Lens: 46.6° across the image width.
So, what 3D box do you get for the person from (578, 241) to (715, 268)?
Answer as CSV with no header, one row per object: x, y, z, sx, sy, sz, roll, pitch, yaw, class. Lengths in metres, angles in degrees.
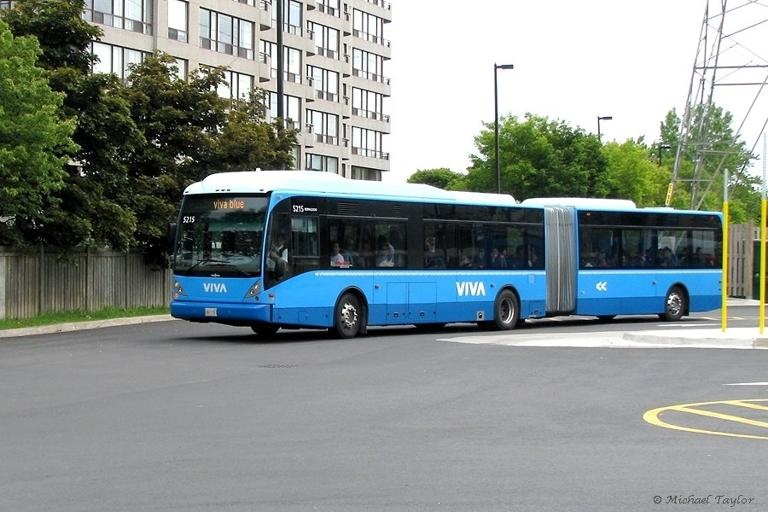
8.400,-0.034,29.102,3.124,0.775,0.795,-1,-2,-21,person
